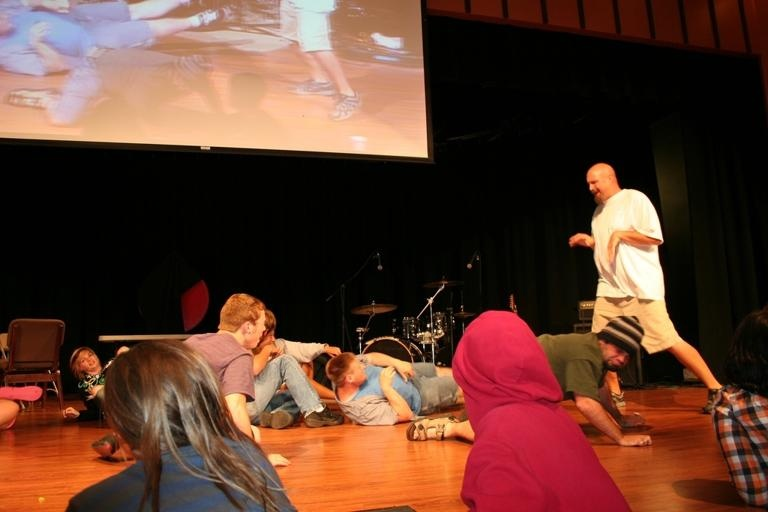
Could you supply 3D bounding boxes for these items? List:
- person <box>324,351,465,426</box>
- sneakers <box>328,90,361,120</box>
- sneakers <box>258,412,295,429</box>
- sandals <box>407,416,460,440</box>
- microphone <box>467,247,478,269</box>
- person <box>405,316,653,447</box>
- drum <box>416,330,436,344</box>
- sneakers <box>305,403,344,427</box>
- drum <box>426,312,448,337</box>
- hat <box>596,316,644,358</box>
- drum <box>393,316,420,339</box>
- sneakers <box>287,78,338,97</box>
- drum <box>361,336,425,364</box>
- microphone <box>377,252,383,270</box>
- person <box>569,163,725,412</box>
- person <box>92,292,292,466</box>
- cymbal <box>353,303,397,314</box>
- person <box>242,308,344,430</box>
[{"bbox_3d":[0.082,1.090,4.472,0.938,0.425,0.533,-8,34,-28],"label":"person"},{"bbox_3d":[-0.342,-1.274,4.999,0.282,0.162,0.121,-37,3,-7],"label":"sneakers"},{"bbox_3d":[-0.787,1.196,4.281,0.293,0.110,0.124,1,-7,27],"label":"sneakers"},{"bbox_3d":[0.307,1.084,3.679,0.259,0.161,0.077,-6,12,2],"label":"sandals"},{"bbox_3d":[1.226,0.057,8.015,0.177,0.255,0.081,-3,-9,-4],"label":"microphone"},{"bbox_3d":[0.885,0.748,3.596,1.384,0.620,0.587,-6,-3,27],"label":"person"},{"bbox_3d":[0.465,0.907,6.393,0.143,0.101,0.144,1,-15,0],"label":"drum"},{"bbox_3d":[-0.446,1.199,4.392,0.325,0.161,0.126,0,-1,-30],"label":"sneakers"},{"bbox_3d":[0.614,0.786,6.587,0.233,0.253,0.236,-2,-14,0],"label":"drum"},{"bbox_3d":[1.347,0.459,3.354,0.244,0.221,0.183,5,-27,45],"label":"hat"},{"bbox_3d":[0.249,0.855,6.672,0.273,0.239,0.273,-1,2,-1],"label":"drum"},{"bbox_3d":[-0.601,-1.423,4.854,0.396,0.160,0.135,2,4,-13],"label":"sneakers"},{"bbox_3d":[0.129,0.889,5.534,0.400,0.385,0.386,-9,-10,29],"label":"drum"},{"bbox_3d":[-0.067,0.071,7.988,0.077,0.242,0.183,-3,-9,0],"label":"microphone"},{"bbox_3d":[1.842,0.202,4.219,0.915,1.860,0.796,-7,-12,41],"label":"person"},{"bbox_3d":[-0.927,0.632,3.182,1.048,0.807,0.804,-6,28,-18],"label":"person"},{"bbox_3d":[-0.140,0.620,6.937,0.435,0.117,0.358,2,-12,-27],"label":"cymbal"},{"bbox_3d":[-0.771,0.916,4.433,0.910,1.001,0.732,-3,-5,4],"label":"person"}]
